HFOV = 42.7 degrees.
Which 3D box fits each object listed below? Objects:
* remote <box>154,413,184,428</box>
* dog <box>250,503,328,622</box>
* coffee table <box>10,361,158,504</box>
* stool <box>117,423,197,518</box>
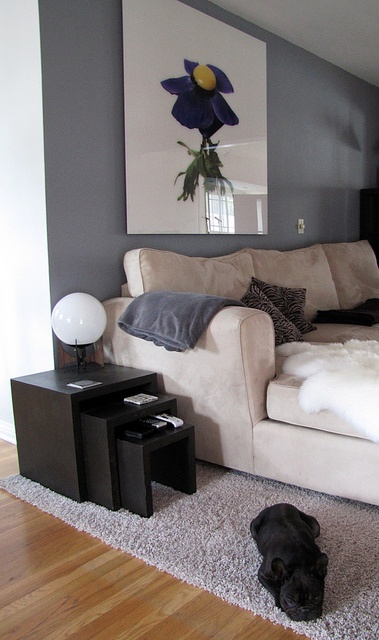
[{"bbox_3d":[-0.074,0.345,1.710,0.075,0.019,0.043,12,13,41],"label":"remote"},{"bbox_3d":[0.248,0.572,1.198,0.157,0.144,0.338,-3,11,-1],"label":"dog"},{"bbox_3d":[-0.433,0.373,1.977,0.456,0.464,0.435,5,10,37],"label":"coffee table"},{"bbox_3d":[-0.114,0.505,1.631,0.136,0.258,0.263,3,8,35],"label":"stool"}]
